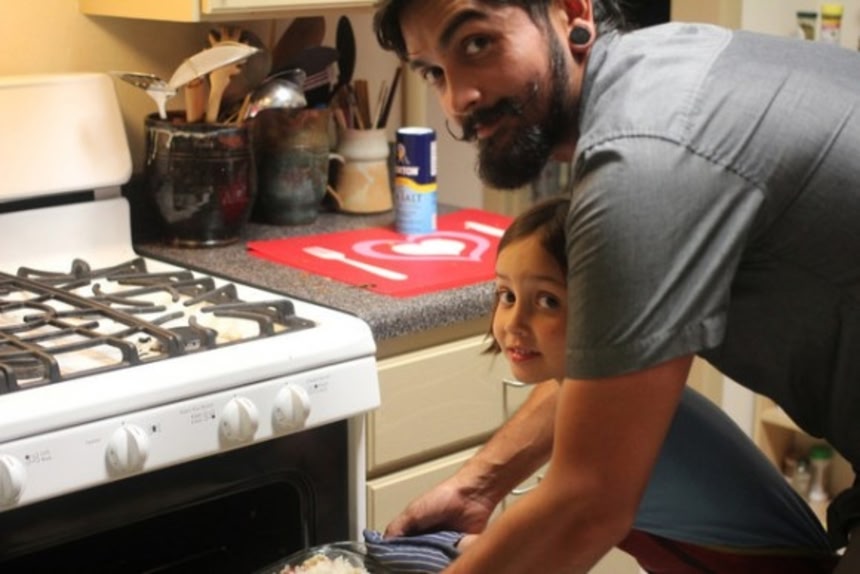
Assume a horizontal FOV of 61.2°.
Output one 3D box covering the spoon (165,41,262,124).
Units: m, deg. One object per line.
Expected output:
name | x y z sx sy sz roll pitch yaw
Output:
spoon | -0.510 -0.467 1.654 0.209 0.182 0.174 -5 22 -20

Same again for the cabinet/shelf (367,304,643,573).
cabinet/shelf | 0.193 0.102 1.670 0.377 0.688 0.730 8 16 39

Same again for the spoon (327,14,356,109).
spoon | -0.250 -0.619 2.031 0.047 0.320 0.036 16 39 1
